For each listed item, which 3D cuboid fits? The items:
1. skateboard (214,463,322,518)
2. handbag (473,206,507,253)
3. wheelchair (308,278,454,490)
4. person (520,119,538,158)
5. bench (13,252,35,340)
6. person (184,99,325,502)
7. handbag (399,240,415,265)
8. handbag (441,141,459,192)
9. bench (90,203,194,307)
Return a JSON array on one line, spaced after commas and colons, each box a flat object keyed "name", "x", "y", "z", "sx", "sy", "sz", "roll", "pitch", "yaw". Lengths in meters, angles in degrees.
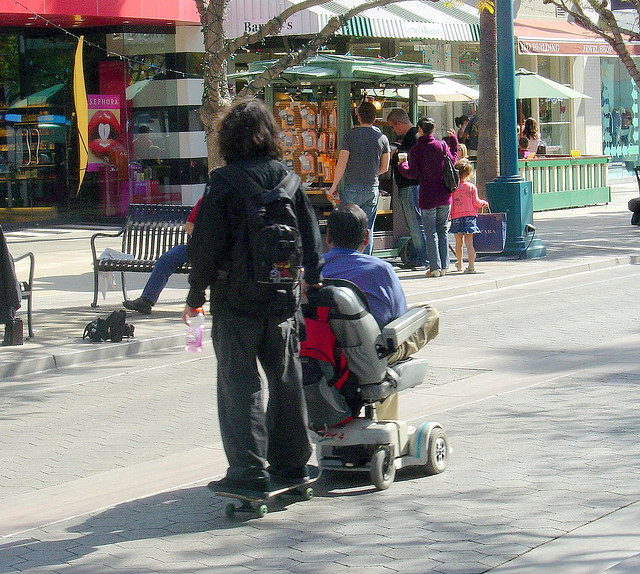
[{"name": "skateboard", "x": -0.224, "y": 1.079, "z": 5.323, "sx": 0.207, "sy": 0.116, "sz": 0.787, "roll": 3, "pitch": 4, "yaw": 37}, {"name": "handbag", "x": 2.561, "y": -0.870, "z": 15.564, "sx": 0.299, "sy": 0.577, "sz": 0.664, "roll": 15, "pitch": -3, "yaw": -3}, {"name": "wheelchair", "x": 0.330, "y": 0.539, "z": 5.760, "sx": 0.800, "sy": 1.201, "sz": 0.499, "roll": -2, "pitch": 3, "yaw": 0}, {"name": "person", "x": 5.108, "y": -3.655, "z": 24.423, "sx": 0.412, "sy": 1.037, "sz": 1.469, "roll": -2, "pitch": 2, "yaw": 13}, {"name": "bench", "x": -2.961, "y": 0.058, "z": 10.232, "sx": 0.342, "sy": 0.830, "sz": 0.382, "roll": -4, "pitch": 24, "yaw": -22}, {"name": "person", "x": -0.324, "y": 0.080, "z": 5.405, "sx": 0.816, "sy": 2.107, "sz": 1.028, "roll": 2, "pitch": 2, "yaw": 30}, {"name": "handbag", "x": 1.357, "y": -0.545, "z": 15.437, "sx": 0.168, "sy": 0.369, "sz": 0.433, "roll": 3, "pitch": 4, "yaw": 21}, {"name": "handbag", "x": 1.831, "y": -1.693, "z": 13.972, "sx": 0.223, "sy": 0.706, "sz": 0.330, "roll": -2, "pitch": 3, "yaw": 7}, {"name": "bench", "x": -2.258, "y": -0.438, "z": 12.631, "sx": 0.841, "sy": 1.036, "sz": 1.789, "roll": -9, "pitch": 1, "yaw": 8}]
